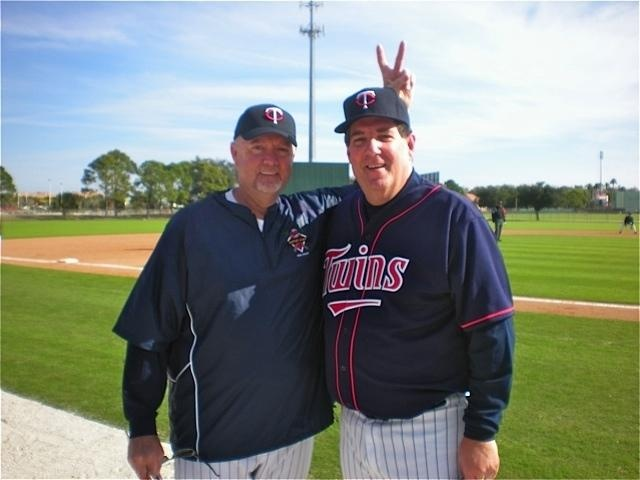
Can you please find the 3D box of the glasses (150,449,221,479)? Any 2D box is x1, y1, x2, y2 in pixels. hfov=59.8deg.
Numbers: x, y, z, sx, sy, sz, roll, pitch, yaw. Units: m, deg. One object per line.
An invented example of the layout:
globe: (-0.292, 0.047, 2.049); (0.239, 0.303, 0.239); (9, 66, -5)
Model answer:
glasses: (-0.886, 1.479, 3.669); (0.456, 0.209, 0.138); (0, 4, 8)

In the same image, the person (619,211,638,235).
person: (17.443, -1.029, 31.316); (0.784, 0.661, 2.386); (-5, 27, 19)
